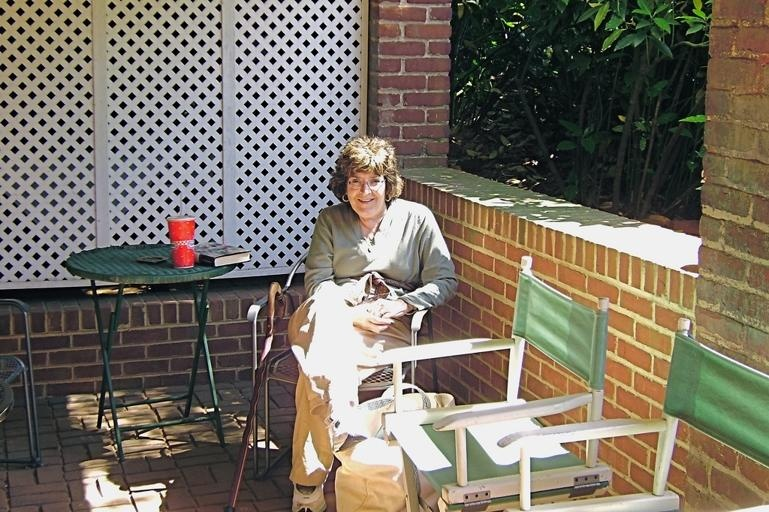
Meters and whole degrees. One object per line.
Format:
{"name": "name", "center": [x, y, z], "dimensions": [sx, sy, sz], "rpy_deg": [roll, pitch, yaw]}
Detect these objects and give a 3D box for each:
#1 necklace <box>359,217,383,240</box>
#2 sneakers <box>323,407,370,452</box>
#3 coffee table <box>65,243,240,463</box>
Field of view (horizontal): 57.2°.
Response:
{"name": "necklace", "center": [-0.093, -0.171, 4.617], "dimensions": [0.120, 0.133, 0.155], "rpy_deg": [3, 26, 16]}
{"name": "sneakers", "center": [-0.206, 0.925, 3.793], "dimensions": [0.170, 0.275, 0.084], "rpy_deg": [13, -8, -16]}
{"name": "coffee table", "center": [-1.568, 0.633, 4.831], "dimensions": [1.053, 1.142, 1.117], "rpy_deg": [-2, 7, -21]}
